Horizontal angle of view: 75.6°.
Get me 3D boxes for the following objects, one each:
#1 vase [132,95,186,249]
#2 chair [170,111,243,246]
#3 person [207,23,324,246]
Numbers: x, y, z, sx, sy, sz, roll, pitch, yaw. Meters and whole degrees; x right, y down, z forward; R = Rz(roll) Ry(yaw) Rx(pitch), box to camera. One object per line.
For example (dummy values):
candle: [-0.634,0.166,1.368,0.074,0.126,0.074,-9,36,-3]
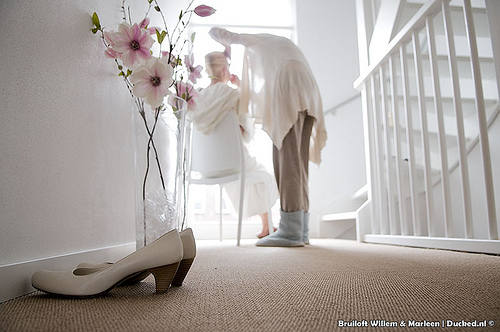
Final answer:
vase: [-0.389,-0.002,1.430,0.192,0.617,0.569,-1,-1,-15]
chair: [-0.312,0.039,2.518,0.507,0.837,0.552,-8,21,-26]
person: [0.102,-0.291,2.340,0.934,1.609,0.639,-1,-5,15]
